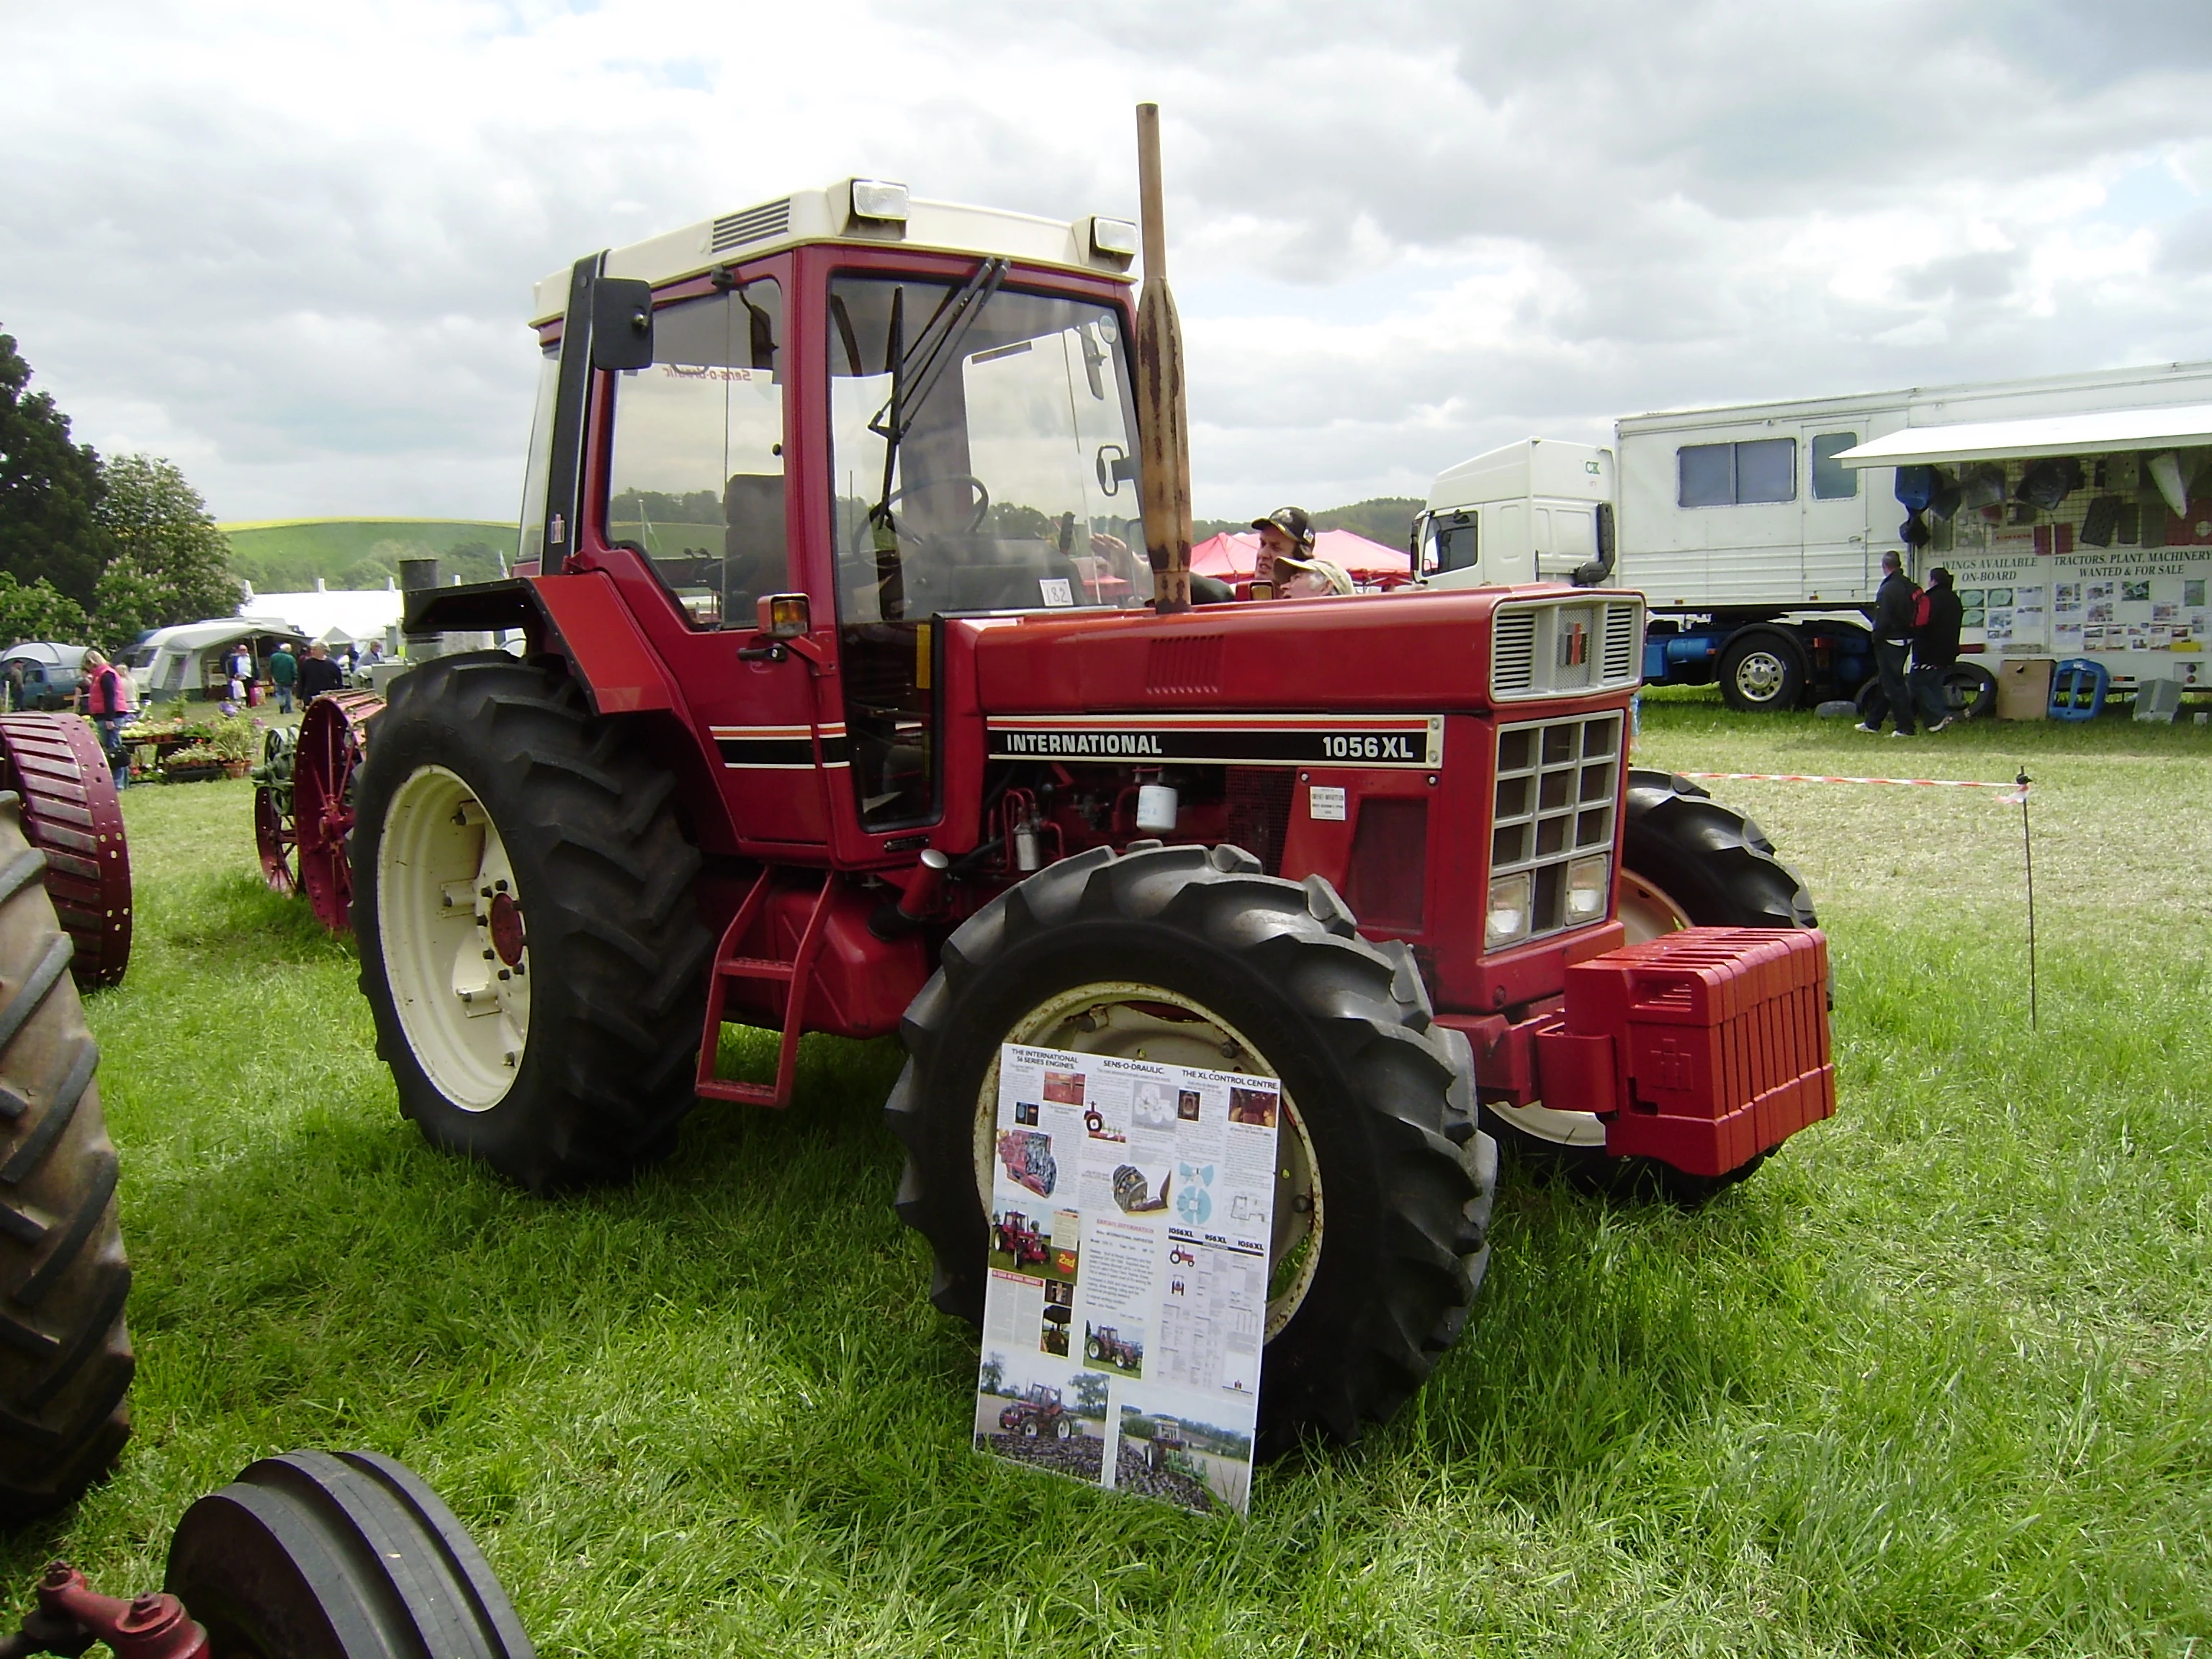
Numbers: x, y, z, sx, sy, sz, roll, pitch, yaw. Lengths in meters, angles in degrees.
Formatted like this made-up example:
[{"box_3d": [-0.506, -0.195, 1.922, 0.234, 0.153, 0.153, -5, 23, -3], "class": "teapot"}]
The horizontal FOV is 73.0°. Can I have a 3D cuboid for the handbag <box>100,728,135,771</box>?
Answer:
[{"box_3d": [-11.555, -0.930, 17.520, 0.268, 0.558, 0.839, -9, 16, -33], "class": "handbag"}]

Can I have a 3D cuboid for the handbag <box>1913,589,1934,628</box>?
[{"box_3d": [8.490, -2.286, 15.534, 0.269, 0.340, 0.220, 11, -12, -39], "class": "handbag"}]

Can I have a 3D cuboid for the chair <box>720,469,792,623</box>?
[{"box_3d": [-1.124, -0.899, 4.769, 0.243, 0.473, 0.241, -5, 20, -26], "class": "chair"}]

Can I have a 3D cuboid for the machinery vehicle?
[{"box_3d": [-0.477, -0.330, 5.326, 5.069, 3.486, 2.853, 3, 5, 38], "class": "machinery vehicle"}]
